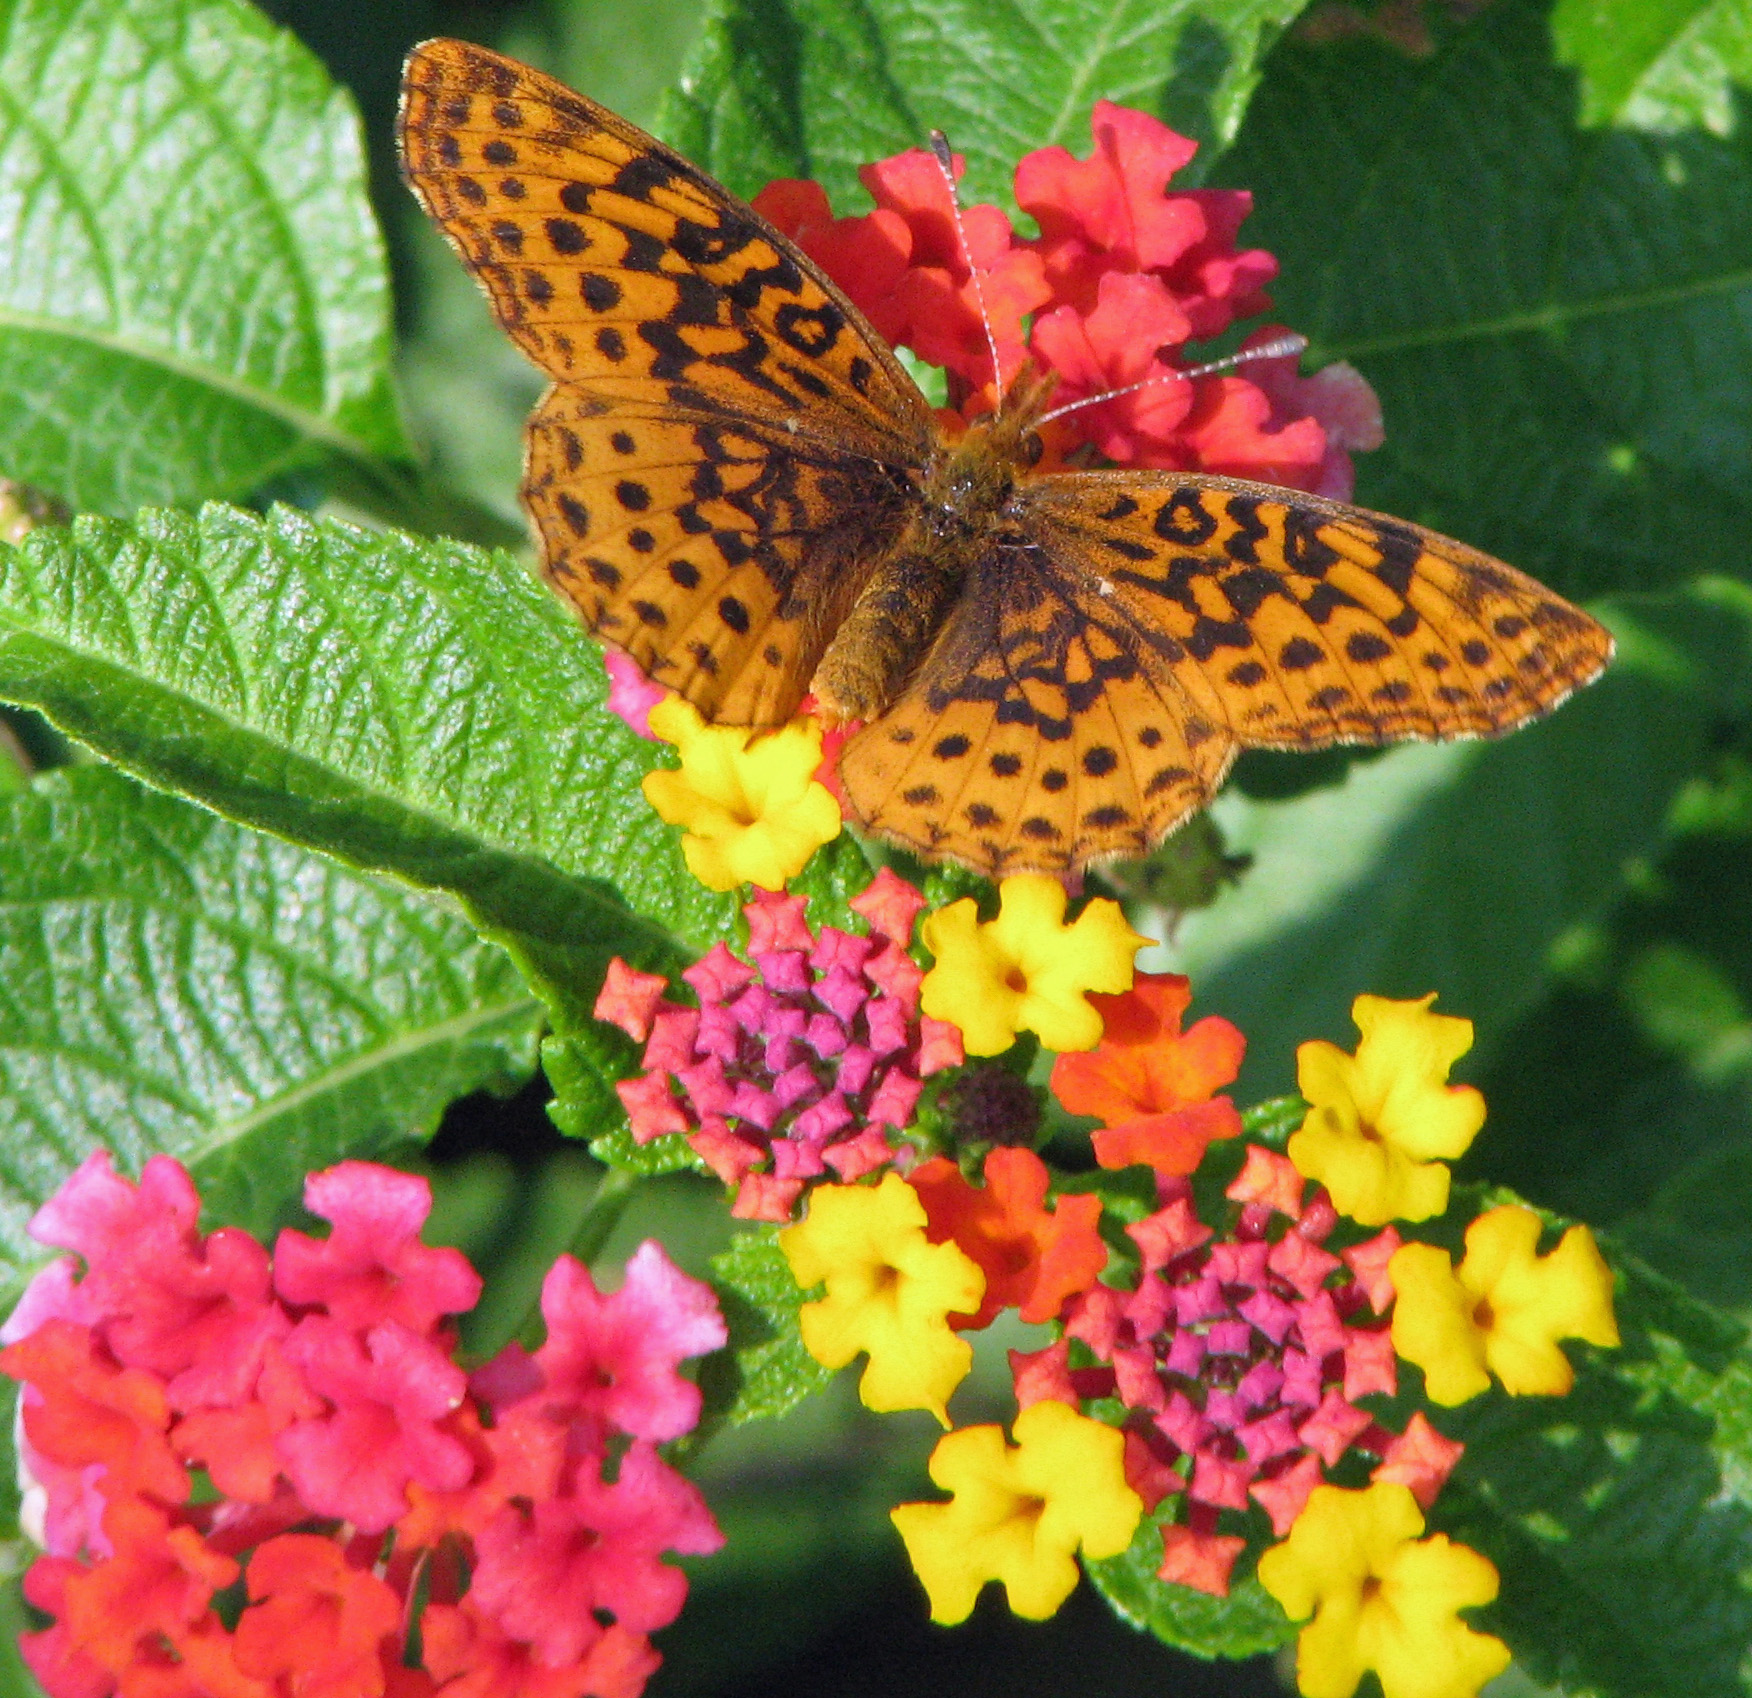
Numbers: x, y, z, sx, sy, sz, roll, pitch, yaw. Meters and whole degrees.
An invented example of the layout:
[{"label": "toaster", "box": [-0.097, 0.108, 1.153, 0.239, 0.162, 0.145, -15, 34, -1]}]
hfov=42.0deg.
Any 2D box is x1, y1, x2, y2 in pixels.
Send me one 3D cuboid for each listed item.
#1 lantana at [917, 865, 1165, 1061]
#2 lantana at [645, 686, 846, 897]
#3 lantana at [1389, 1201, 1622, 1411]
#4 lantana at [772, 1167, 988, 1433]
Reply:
[{"label": "lantana", "box": [0.138, 0.107, 2.053, 0.168, 0.156, 0.052, -50, -22, -26]}, {"label": "lantana", "box": [-0.129, -0.045, 2.132, 0.073, 0.182, 0.183, 66, -144, -73]}, {"label": "lantana", "box": [0.521, 0.384, 1.954, 0.182, 0.177, 0.072, -28, -2, -12]}, {"label": "lantana", "box": [0.007, 0.378, 1.943, 0.151, 0.223, 0.047, -28, -21, 10]}]
